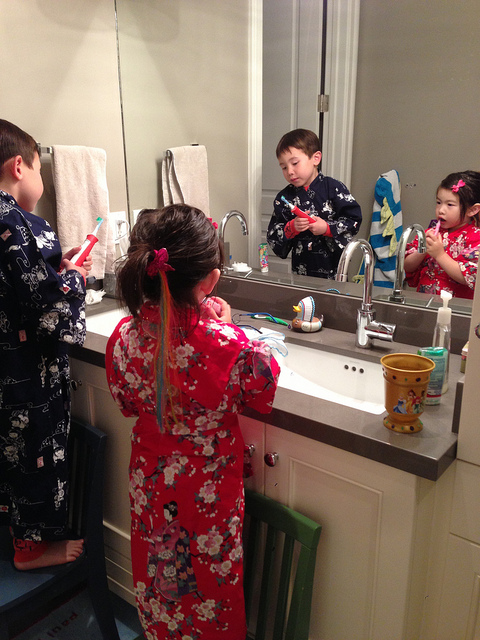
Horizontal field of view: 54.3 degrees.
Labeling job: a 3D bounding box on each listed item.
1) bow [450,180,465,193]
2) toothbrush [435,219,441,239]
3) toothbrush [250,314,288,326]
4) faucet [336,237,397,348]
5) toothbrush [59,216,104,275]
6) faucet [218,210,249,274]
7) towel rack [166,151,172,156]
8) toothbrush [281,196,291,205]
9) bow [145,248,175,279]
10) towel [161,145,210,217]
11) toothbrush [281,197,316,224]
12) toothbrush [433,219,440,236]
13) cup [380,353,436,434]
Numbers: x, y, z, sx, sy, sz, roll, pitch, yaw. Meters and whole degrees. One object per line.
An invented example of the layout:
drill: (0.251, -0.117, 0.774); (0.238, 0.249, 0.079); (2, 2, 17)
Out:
bow: (0.510, -0.312, 1.087); (0.006, 0.025, 0.017); (-1, 52, -37)
toothbrush: (0.483, -0.224, 1.138); (0.011, 0.040, 0.015); (6, 15, 22)
toothbrush: (0.100, -0.005, 1.473); (0.114, 0.018, 0.039); (19, 24, 36)
faucet: (0.327, -0.068, 1.218); (0.190, 0.280, 0.120); (13, 19, 39)
toothbrush: (-0.503, -0.245, 1.463); (0.051, 0.273, 0.039); (30, -24, -10)
faucet: (-0.032, -0.315, 1.590); (0.069, 0.114, 0.130); (-9, 18, -33)
towel rack: (-0.265, -0.620, 1.748); (0.015, 0.018, 0.015); (12, 31, 16)
toothbrush: (0.137, -0.363, 1.421); (0.039, 0.014, 0.009); (42, 48, 5)
bow: (-0.113, -0.079, 0.651); (0.019, 0.037, 0.037); (6, 12, 18)
towel: (-0.201, -0.542, 1.782); (0.155, 0.243, 0.053); (-14, 47, -19)
toothbrush: (0.180, -0.332, 1.402); (0.105, 0.017, 0.019); (40, 36, -5)
toothbrush: (0.482, -0.226, 1.137); (0.005, 0.036, 0.005); (10, 16, 12)
cup: (0.276, 0.119, 0.779); (0.087, 0.118, 0.090); (-1, 15, 0)
